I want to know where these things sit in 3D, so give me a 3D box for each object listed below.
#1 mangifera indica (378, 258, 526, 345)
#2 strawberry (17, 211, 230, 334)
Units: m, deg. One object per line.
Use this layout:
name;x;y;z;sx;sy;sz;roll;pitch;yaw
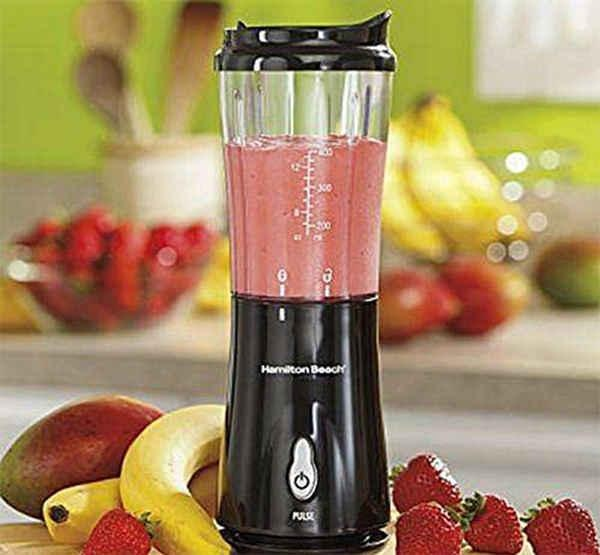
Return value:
mangifera indica;0.257;0.039;1.319;0.268;0.097;0.129;-4;7;-6
strawberry;-0.309;-0.002;1.274;0.275;0.125;0.274;0;-4;-19
